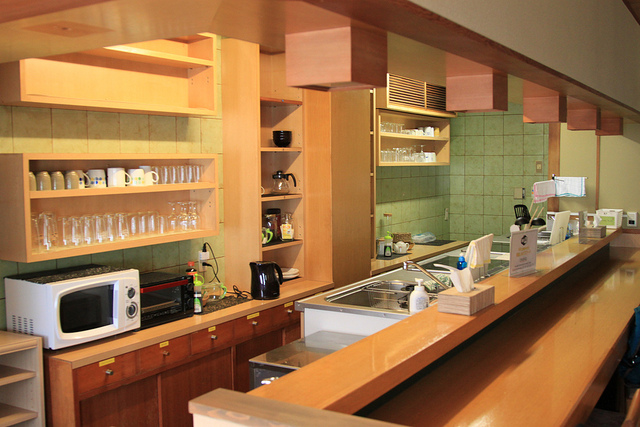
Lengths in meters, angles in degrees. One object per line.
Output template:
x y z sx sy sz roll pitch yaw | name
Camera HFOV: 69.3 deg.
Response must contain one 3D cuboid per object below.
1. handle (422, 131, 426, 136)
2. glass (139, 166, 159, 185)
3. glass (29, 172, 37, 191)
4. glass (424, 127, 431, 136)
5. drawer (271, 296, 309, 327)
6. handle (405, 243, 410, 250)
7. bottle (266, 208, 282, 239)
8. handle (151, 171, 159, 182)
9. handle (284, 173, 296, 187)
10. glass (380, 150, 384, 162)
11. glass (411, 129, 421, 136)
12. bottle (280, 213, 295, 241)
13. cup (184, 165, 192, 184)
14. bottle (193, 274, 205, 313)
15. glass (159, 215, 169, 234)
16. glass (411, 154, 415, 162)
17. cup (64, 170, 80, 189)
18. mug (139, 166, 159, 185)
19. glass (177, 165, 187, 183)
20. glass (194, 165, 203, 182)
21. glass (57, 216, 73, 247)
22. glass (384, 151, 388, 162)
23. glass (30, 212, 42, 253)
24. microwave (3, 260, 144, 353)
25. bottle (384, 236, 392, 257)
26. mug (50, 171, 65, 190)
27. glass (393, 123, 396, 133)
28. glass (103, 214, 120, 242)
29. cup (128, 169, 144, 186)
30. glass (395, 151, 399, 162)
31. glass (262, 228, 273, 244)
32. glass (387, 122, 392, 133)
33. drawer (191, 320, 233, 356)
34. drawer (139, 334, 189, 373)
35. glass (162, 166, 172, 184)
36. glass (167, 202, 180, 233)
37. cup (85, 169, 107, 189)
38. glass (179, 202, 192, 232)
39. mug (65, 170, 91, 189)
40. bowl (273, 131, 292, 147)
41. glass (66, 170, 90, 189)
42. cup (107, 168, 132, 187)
1.599 -1.215 7.081 0.046 0.079 0.042 4 7 37 | handle
-1.372 -0.307 3.721 0.197 0.175 0.114 1 -1 1 | glass
-1.897 -0.209 3.054 0.042 0.120 0.092 -6 8 -29 | glass
1.659 -1.242 7.088 0.109 0.178 0.194 1 0 19 | glass
-0.297 0.898 4.149 0.052 0.190 0.317 5 9 43 | drawer
1.166 0.435 6.181 0.029 0.098 0.145 1 7 24 | handle
-0.451 0.100 4.669 0.123 0.302 0.201 -1 7 4 | bottle
-1.337 -0.298 3.760 0.076 0.071 0.015 19 19 28 | handle
-0.321 -0.335 4.688 0.078 0.140 0.143 4 9 42 | handle
0.789 -0.716 5.905 0.051 0.120 0.139 -1 7 7 | glass
1.425 -1.216 6.932 0.143 0.130 0.136 3 11 20 | glass
-0.336 0.137 4.687 0.134 0.264 0.154 -1 7 6 | bottle
-1.121 -0.335 3.947 0.058 0.142 0.103 -3 7 -11 | cup
-1.000 0.652 3.781 0.064 0.285 0.191 -3 7 -13 | bottle
-1.286 0.095 3.810 0.073 0.128 0.175 -4 7 -17 | glass
1.337 -0.796 6.676 0.043 0.108 0.118 0 7 14 | glass
-1.762 -0.236 3.284 0.094 0.123 0.094 -2 7 0 | cup
-1.373 -0.305 3.720 0.196 0.175 0.115 2 0 2 | mug
-1.160 -0.325 3.883 0.077 0.125 0.136 -2 4 5 | glass
-1.059 -0.349 4.026 0.034 0.142 0.094 3 8 35 | glass
-1.807 0.133 3.287 0.095 0.199 0.124 -6 8 -29 | glass
0.851 -0.728 5.974 0.042 0.129 0.102 -1 7 8 | glass
-1.886 0.132 3.059 0.060 0.254 0.116 -6 8 -31 | glass
-1.686 0.606 3.246 0.560 0.537 0.761 0 1 32 | microwave
0.884 0.429 6.046 0.092 0.234 0.181 -1 7 6 | bottle
-1.825 -0.224 3.210 0.079 0.117 0.111 -6 8 -29 | mug
1.003 -1.140 6.240 0.039 0.106 0.111 -1 7 6 | glass
-1.553 0.107 3.447 0.088 0.194 0.101 4 9 38 | glass
-1.429 -0.279 3.594 0.130 0.116 0.125 1 5 0 | cup
1.025 -0.757 6.172 0.046 0.142 0.124 0 7 12 | glass
-0.525 0.218 4.485 0.073 0.136 0.175 0 7 17 | glass
0.932 -1.123 6.131 0.047 0.112 0.146 1 7 24 | glass
-0.871 0.935 3.632 0.188 0.135 0.311 0 2 33 | drawer
-1.132 1.011 3.344 0.191 0.080 0.260 -1 0 28 | drawer
-1.253 -0.312 3.795 0.073 0.138 0.053 -5 8 -27 | glass
-1.227 0.034 3.879 0.100 0.239 0.168 -4 7 -18 | glass
-1.648 -0.254 3.421 0.168 0.139 0.109 -1 1 19 | cup
-1.142 0.028 3.915 0.058 0.238 0.101 0 7 19 | glass
-1.780 -0.243 3.363 0.180 0.167 0.112 4 -5 -36 | mug
-0.378 -0.743 4.640 0.163 0.111 0.142 -1 4 8 | bowl
-1.721 -0.244 3.344 0.177 0.163 0.109 4 -6 -43 | glass
-1.525 -0.275 3.528 0.170 0.143 0.153 -7 9 -39 | cup
